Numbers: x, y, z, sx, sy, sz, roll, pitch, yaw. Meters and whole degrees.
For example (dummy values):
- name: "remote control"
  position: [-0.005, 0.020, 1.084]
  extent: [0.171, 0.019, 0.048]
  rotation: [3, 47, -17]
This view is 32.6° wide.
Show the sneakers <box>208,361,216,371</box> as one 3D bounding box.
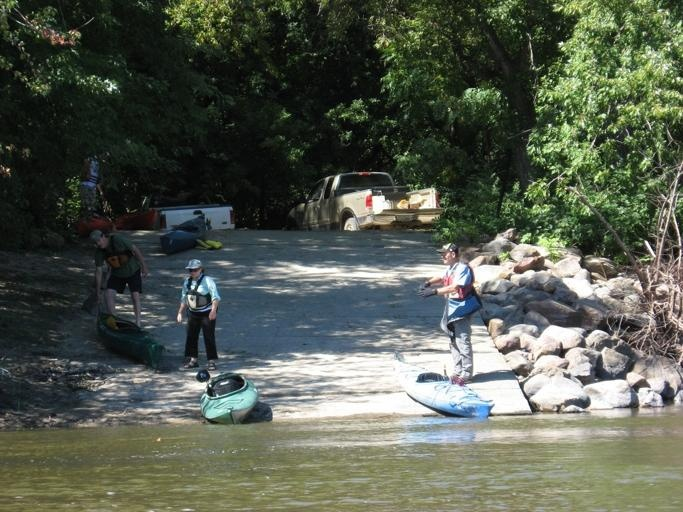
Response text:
- name: "sneakers"
  position: [-2.457, 2.128, 21.956]
  extent: [0.179, 0.181, 0.488]
  rotation: [-1, -4, -10]

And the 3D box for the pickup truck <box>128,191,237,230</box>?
- name: "pickup truck"
  position: [-4.615, -1.288, 35.070]
  extent: [2.356, 0.555, 1.274]
  rotation: [-7, 8, -32]

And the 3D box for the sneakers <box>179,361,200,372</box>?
- name: "sneakers"
  position: [-2.913, 2.149, 22.217]
  extent: [0.357, 0.120, 0.174]
  rotation: [4, -3, -28]

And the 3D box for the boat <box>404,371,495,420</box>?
- name: "boat"
  position: [1.829, 2.549, 20.667]
  extent: [0.625, 0.383, 1.861]
  rotation: [-13, 22, -40]

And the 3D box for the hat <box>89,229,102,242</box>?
- name: "hat"
  position: [-5.049, -0.409, 24.046]
  extent: [0.234, 0.212, 0.384]
  rotation: [-2, -1, -13]

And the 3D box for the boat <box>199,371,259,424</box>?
- name: "boat"
  position: [-1.988, 2.571, 20.413]
  extent: [0.980, 0.808, 0.429]
  rotation: [-2, -1, -7]

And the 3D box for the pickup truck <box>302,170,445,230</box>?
- name: "pickup truck"
  position: [0.690, -1.626, 36.078]
  extent: [1.953, 1.248, 3.847]
  rotation: [-2, 5, -32]

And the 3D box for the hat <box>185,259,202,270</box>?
- name: "hat"
  position: [-2.816, 0.193, 22.307]
  extent: [0.326, 0.161, 0.448]
  rotation: [-4, -2, 5]

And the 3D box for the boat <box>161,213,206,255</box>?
- name: "boat"
  position: [-4.195, -0.513, 31.227]
  extent: [0.607, 0.366, 1.900]
  rotation: [8, 16, 11]

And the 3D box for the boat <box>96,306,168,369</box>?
- name: "boat"
  position: [-4.176, 1.662, 22.602]
  extent: [0.653, 0.529, 1.940]
  rotation: [-3, 20, -41]

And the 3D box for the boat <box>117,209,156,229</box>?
- name: "boat"
  position: [-6.087, -1.094, 34.866]
  extent: [1.412, 0.558, 0.688]
  rotation: [-2, -1, 8]

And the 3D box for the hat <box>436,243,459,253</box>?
- name: "hat"
  position: [1.933, -0.136, 21.602]
  extent: [0.387, 0.136, 0.228]
  rotation: [-3, 2, 2]

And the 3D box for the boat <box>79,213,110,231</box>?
- name: "boat"
  position: [-7.178, -0.956, 33.959]
  extent: [0.911, 0.506, 1.394]
  rotation: [-1, -1, 7]
